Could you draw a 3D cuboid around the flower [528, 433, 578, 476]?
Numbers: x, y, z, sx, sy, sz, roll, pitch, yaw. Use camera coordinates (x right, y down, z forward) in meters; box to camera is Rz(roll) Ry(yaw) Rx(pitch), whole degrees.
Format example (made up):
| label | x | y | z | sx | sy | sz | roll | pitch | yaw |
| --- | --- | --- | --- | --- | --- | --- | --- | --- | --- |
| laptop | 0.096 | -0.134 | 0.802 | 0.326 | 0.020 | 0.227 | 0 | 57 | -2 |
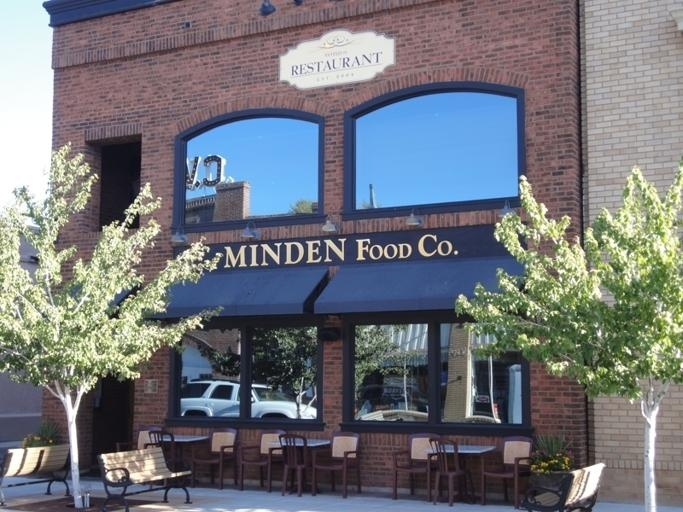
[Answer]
| label | x | y | z | sx | sy | sz | roll | pitch | yaw |
| --- | --- | --- | --- | --- | --- | --- | --- | --- | --- |
| flower | 4.263 | 4.017 | 25.889 | 0.667 | 0.798 | 0.695 | -1 | -2 | 18 |
